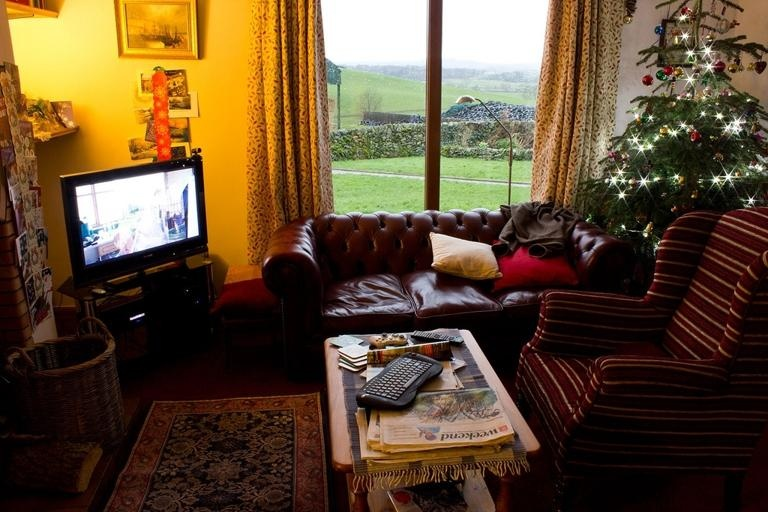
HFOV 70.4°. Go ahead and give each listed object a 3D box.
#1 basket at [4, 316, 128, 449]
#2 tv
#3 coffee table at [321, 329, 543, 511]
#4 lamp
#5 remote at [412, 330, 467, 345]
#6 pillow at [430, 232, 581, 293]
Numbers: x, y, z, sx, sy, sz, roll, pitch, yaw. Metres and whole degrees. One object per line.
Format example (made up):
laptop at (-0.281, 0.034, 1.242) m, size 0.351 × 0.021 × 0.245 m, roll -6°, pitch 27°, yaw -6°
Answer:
basket at (-1.795, 0.738, 3.069) m, size 0.553 × 0.652 × 0.452 m, roll -6°, pitch 19°, yaw -23°
tv at (-1.755, -0.238, 3.844) m, size 0.095 × 0.756 × 0.935 m, roll 13°, pitch 21°, yaw 43°
coffee table at (0.195, 0.884, 2.832) m, size 0.967 × 0.493 × 0.798 m, roll -1°, pitch 18°, yaw -9°
lamp at (0.953, -0.930, 5.043) m, size 0.521 × 1.081 × 1.223 m, roll 5°, pitch 18°, yaw 12°
remote at (0.314, 0.469, 3.167) m, size 0.224 × 0.037 × 0.114 m, roll 0°, pitch 11°, yaw 0°
pillow at (0.870, 0.070, 4.029) m, size 0.714 × 0.212 × 0.476 m, roll -5°, pitch 30°, yaw 5°
